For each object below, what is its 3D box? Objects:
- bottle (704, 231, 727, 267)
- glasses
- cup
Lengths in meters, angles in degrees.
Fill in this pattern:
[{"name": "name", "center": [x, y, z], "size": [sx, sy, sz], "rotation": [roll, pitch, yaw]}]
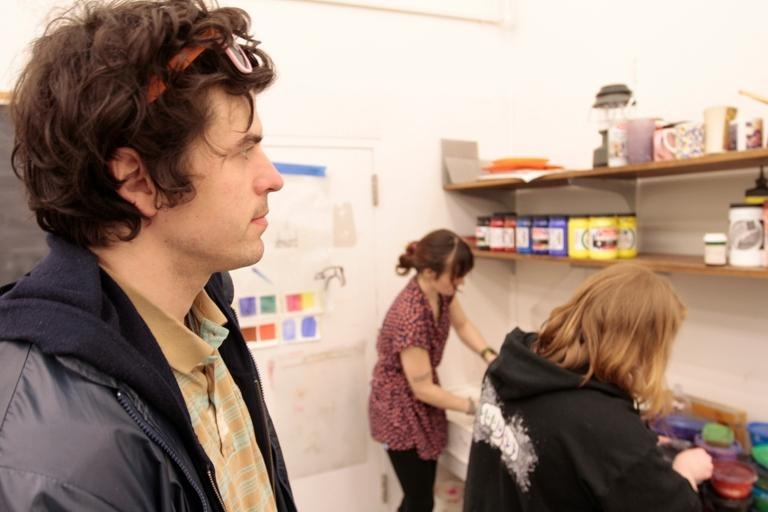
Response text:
[{"name": "bottle", "center": [1.077, -0.019, 1.877], "size": [0.080, 0.113, 0.077], "rotation": [-2, 3, 0]}, {"name": "glasses", "center": [-0.406, -0.427, 1.310], "size": [0.224, 0.074, 0.190], "rotation": [-17, 23, 16]}, {"name": "cup", "center": [0.965, -0.373, 1.923], "size": [0.320, 0.109, 0.201], "rotation": [2, 4, 43]}]
